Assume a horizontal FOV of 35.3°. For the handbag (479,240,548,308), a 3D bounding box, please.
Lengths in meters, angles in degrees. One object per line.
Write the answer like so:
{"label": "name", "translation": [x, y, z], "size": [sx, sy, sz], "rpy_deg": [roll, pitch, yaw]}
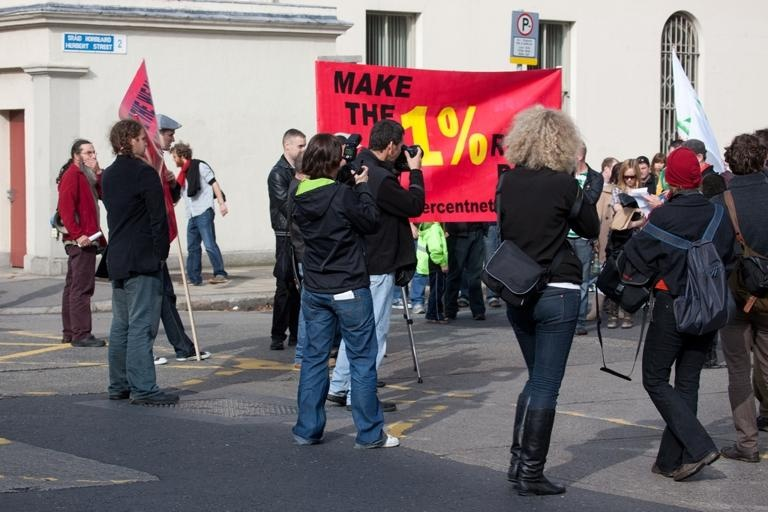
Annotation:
{"label": "handbag", "translation": [1.216, 0.177, 11.352], "size": [0.500, 0.618, 0.230], "rpy_deg": [44, 13, 18]}

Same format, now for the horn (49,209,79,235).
{"label": "horn", "translation": [-4.468, -0.442, 16.584], "size": [0.325, 0.450, 0.434], "rpy_deg": [0, 4, 10]}

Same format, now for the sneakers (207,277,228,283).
{"label": "sneakers", "translation": [-2.863, 0.403, 20.905], "size": [0.316, 0.135, 0.118], "rpy_deg": [3, 4, 0]}

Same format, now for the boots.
{"label": "boots", "translation": [1.460, 1.795, 11.452], "size": [0.525, 0.924, 0.315], "rpy_deg": [2, 10, 14]}

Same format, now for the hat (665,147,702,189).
{"label": "hat", "translation": [2.875, -0.852, 11.877], "size": [0.307, 0.359, 0.417], "rpy_deg": [-13, 35, 4]}

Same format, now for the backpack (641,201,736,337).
{"label": "backpack", "translation": [2.954, 0.244, 11.599], "size": [0.780, 1.049, 0.311], "rpy_deg": [3, 10, 16]}

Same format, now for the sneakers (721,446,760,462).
{"label": "sneakers", "translation": [3.597, 1.998, 12.247], "size": [0.373, 0.160, 0.161], "rpy_deg": [8, 5, 36]}

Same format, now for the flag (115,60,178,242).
{"label": "flag", "translation": [-2.944, -1.452, 15.142], "size": [0.677, 2.398, 0.224], "rpy_deg": [4, -32, -23]}

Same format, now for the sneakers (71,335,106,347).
{"label": "sneakers", "translation": [-3.917, 1.133, 16.122], "size": [0.363, 0.144, 0.183], "rpy_deg": [-1, -2, -11]}

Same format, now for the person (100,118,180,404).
{"label": "person", "translation": [-2.765, 0.055, 13.623], "size": [0.856, 3.142, 0.609], "rpy_deg": [5, 11, 29]}

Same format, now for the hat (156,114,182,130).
{"label": "hat", "translation": [-2.870, -1.847, 16.689], "size": [0.472, 0.196, 0.317], "rpy_deg": [-7, 7, -17]}
